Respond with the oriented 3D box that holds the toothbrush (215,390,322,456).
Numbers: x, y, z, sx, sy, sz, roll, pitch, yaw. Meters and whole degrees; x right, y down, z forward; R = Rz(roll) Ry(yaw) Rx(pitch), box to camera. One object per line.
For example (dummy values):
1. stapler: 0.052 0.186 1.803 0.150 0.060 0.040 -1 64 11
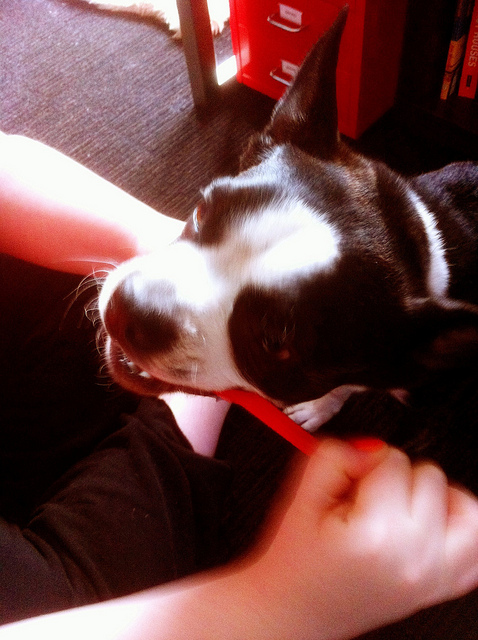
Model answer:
1. toothbrush: 0.057 0.173 1.056 0.048 0.132 0.105 -49 18 0
